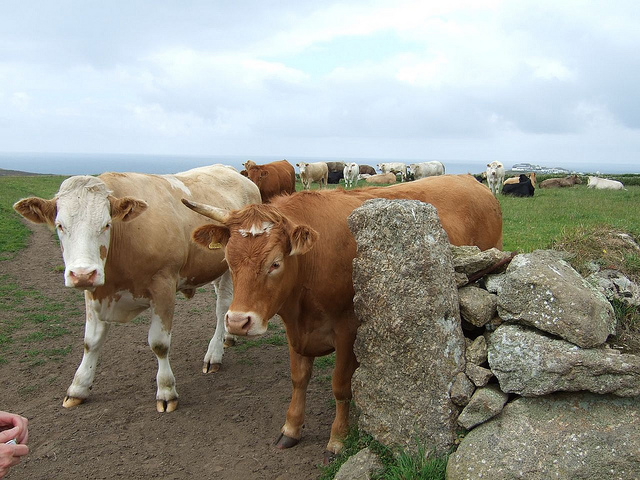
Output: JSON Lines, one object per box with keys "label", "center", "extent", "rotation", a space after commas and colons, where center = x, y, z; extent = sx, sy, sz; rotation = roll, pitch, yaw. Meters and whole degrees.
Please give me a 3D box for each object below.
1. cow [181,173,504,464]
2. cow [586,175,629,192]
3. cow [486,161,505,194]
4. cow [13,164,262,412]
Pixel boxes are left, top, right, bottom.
{"label": "cow", "center": [0.181, 0.617, 6.842], "extent": [3.131, 3.067, 4.611], "rotation": [11, 14, 42]}
{"label": "cow", "center": [16.952, -3.362, 29.162], "extent": [1.620, 0.594, 2.837], "rotation": [6, 12, 19]}
{"label": "cow", "center": [9.818, -3.411, 27.788], "extent": [0.772, 1.612, 2.920], "rotation": [2, -3, 20]}
{"label": "cow", "center": [-2.427, 0.568, 7.506], "extent": [1.630, 3.318, 5.213], "rotation": [3, 9, 11]}
